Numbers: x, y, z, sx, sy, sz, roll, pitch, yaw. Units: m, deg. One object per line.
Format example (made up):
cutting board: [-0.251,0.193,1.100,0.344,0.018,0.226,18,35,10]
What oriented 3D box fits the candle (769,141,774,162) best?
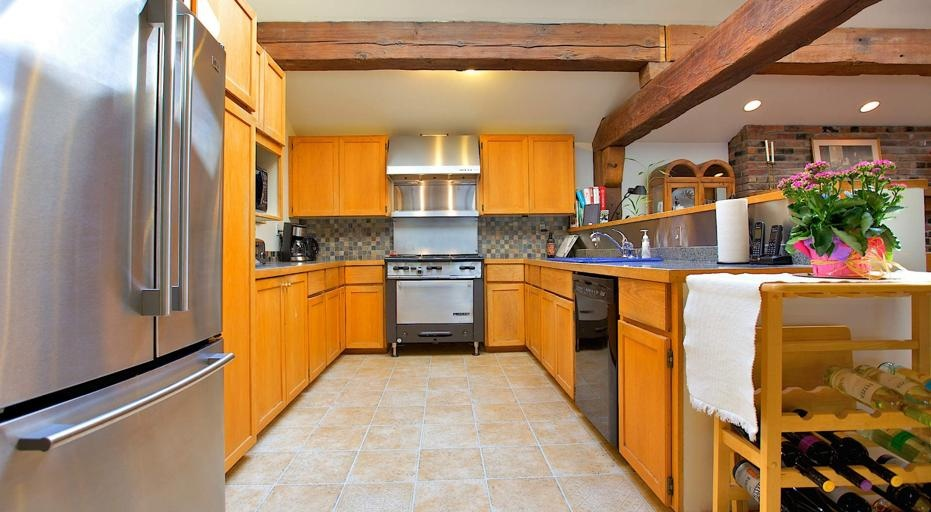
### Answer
candle: [3.240,-1.095,6.199,0.129,0.222,0.022,-5,4,-44]

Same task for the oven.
oven: [-0.275,0.489,5.678,1.039,0.645,0.719,0,2,0]

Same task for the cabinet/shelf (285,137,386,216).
cabinet/shelf: [-1.293,-0.795,5.703,0.941,0.635,0.305,0,0,-2]

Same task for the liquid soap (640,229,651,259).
liquid soap: [1.367,-0.097,4.449,0.085,0.213,0.268,-1,3,16]

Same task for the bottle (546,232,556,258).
bottle: [0.878,-0.119,6.020,0.105,0.239,0.268,-1,3,8]

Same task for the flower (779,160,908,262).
flower: [1.960,-0.237,3.052,0.684,0.391,0.537,-5,4,-44]

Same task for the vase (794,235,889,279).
vase: [1.944,0.007,3.051,0.447,0.166,0.438,3,-3,27]

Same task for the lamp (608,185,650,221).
lamp: [1.671,-0.554,5.978,0.344,0.349,0.703,0,3,32]

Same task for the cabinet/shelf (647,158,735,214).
cabinet/shelf: [2.430,-0.644,6.213,0.832,0.640,0.291,-1,16,-2]

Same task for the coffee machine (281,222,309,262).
coffee machine: [-1.588,-0.133,5.397,0.252,0.350,0.505,-2,3,-17]

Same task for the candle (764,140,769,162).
candle: [3.189,-1.104,6.168,0.085,0.228,0.023,-2,3,-7]

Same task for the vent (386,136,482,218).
vent: [-0.314,-0.806,5.750,1.013,0.743,0.500,0,1,-1]

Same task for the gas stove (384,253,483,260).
gas stove: [-0.318,0.007,5.717,0.898,0.036,0.564,-1,3,-4]

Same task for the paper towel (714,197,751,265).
paper towel: [1.631,-0.151,3.574,0.181,0.390,0.164,0,4,22]

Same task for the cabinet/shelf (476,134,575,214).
cabinet/shelf: [0.743,-0.821,5.936,1.144,0.802,0.399,6,12,39]
